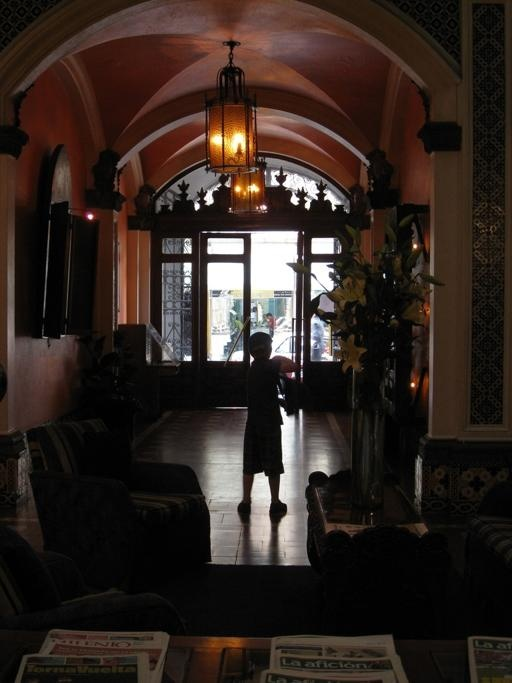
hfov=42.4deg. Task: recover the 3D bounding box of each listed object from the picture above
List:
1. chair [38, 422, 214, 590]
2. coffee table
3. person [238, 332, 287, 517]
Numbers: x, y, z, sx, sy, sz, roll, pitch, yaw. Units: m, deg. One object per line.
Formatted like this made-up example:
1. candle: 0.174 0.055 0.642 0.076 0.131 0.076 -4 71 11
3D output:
1. chair: -0.654 0.831 3.412 0.792 0.890 0.761 -4 -4 21
2. coffee table: 0.532 0.984 2.884 0.599 0.548 0.691 0 1 5
3. person: 0.048 0.595 4.753 0.353 1.319 0.433 0 1 0
